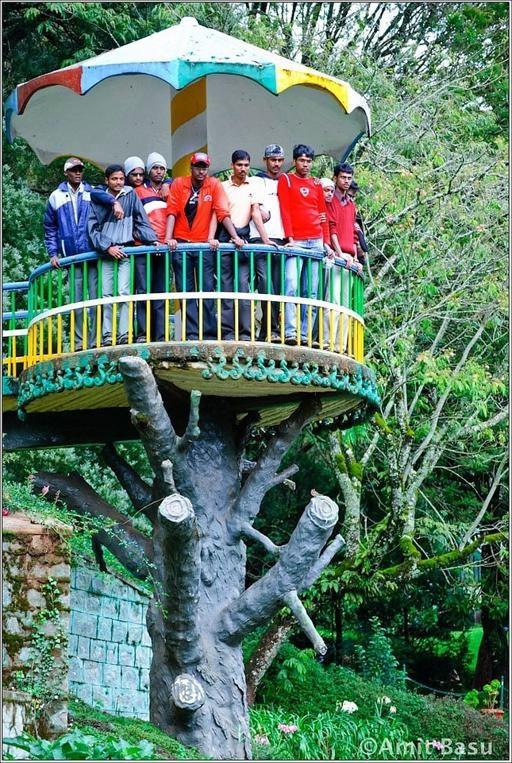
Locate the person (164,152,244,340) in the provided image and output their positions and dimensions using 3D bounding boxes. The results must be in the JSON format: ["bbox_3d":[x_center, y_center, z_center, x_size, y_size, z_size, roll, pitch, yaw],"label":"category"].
[{"bbox_3d":[-0.486,-1.224,12.526,0.664,1.529,0.982,4,14,-11],"label":"person"}]

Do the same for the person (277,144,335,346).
[{"bbox_3d":[0.421,-1.268,12.853,0.571,1.658,1.244,7,14,0],"label":"person"}]

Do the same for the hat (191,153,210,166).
[{"bbox_3d":[-0.497,-2.018,12.656,0.145,0.129,0.218,2,-13,-6],"label":"hat"}]

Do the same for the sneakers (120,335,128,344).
[{"bbox_3d":[-1.150,-0.377,12.288,0.058,0.090,0.157,3,15,-14],"label":"sneakers"}]

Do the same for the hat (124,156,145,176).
[{"bbox_3d":[-1.127,-2.019,13.176,0.193,0.222,0.259,-4,7,-32],"label":"hat"}]

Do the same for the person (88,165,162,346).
[{"bbox_3d":[-1.198,-1.113,12.547,0.537,1.492,0.935,-1,16,-29],"label":"person"}]

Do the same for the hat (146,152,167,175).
[{"bbox_3d":[-0.949,-2.112,13.658,0.178,0.226,0.251,-2,21,-12],"label":"hat"}]
